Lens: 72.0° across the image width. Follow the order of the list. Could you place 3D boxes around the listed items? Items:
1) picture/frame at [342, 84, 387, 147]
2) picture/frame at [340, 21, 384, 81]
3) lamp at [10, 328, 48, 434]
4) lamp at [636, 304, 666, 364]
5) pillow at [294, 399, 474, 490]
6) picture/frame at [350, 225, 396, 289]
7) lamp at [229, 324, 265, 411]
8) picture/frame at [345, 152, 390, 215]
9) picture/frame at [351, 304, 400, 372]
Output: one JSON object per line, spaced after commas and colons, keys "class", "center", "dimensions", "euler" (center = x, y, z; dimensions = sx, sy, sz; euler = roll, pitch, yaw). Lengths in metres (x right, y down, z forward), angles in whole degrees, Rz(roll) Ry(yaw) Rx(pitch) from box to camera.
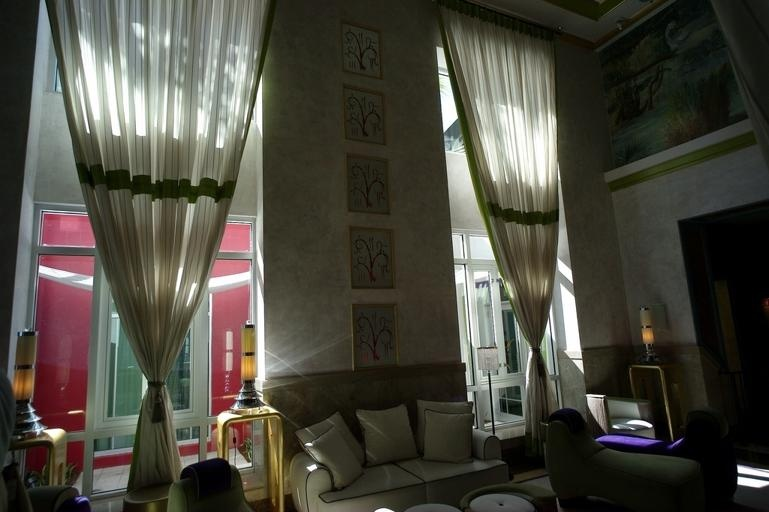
{"class": "picture/frame", "center": [-0.318, -1.963, 7.457], "dimensions": [0.790, 1.027, 0.136], "euler": [4, -11, -22]}
{"class": "picture/frame", "center": [-0.362, -2.926, 7.572], "dimensions": [0.807, 0.996, 0.093], "euler": [3, -7, -22]}
{"class": "lamp", "center": [-3.946, 1.386, 5.846], "dimensions": [0.295, 1.161, 0.343], "euler": [3, -13, -35]}
{"class": "lamp", "center": [4.150, 1.235, 8.370], "dimensions": [0.261, 0.910, 0.364], "euler": [-14, -14, 40]}
{"class": "pillow", "center": [-0.035, 2.256, 6.448], "dimensions": [2.030, 0.791, 0.503], "euler": [-2, -11, -19]}
{"class": "picture/frame", "center": [-0.197, 0.030, 7.214], "dimensions": [0.764, 1.030, 0.068], "euler": [2, -12, -26]}
{"class": "lamp", "center": [-1.720, 1.347, 6.600], "dimensions": [0.363, 1.057, 0.603], "euler": [-3, -11, -11]}
{"class": "picture/frame", "center": [-0.277, -0.986, 7.328], "dimensions": [0.742, 1.008, 0.101], "euler": [4, -13, -25]}
{"class": "picture/frame", "center": [-0.161, 1.110, 7.087], "dimensions": [0.774, 1.055, 0.066], "euler": [2, -7, -23]}
